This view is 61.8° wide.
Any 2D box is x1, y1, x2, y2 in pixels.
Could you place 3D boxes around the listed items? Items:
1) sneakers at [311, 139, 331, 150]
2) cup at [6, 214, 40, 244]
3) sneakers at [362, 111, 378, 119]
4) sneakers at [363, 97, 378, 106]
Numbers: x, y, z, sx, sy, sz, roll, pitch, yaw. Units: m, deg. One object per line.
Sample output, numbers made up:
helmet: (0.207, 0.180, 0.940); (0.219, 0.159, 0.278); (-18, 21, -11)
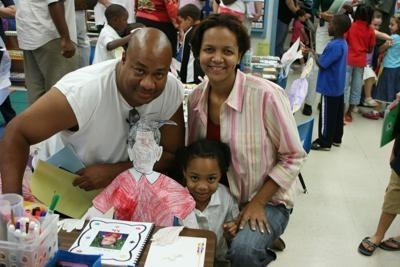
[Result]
sneakers: (1.641, 0.159, 4.618); (0.284, 0.131, 0.124); (10, 27, 14)
cup: (-0.672, 0.363, 1.280); (0.113, 0.075, 0.087); (3, 18, 8)
sneakers: (2.840, -0.325, 5.622); (0.105, 0.106, 0.239); (-12, 25, -34)
sneakers: (3.054, -0.579, 5.997); (0.106, 0.122, 0.243); (-29, 28, -36)
